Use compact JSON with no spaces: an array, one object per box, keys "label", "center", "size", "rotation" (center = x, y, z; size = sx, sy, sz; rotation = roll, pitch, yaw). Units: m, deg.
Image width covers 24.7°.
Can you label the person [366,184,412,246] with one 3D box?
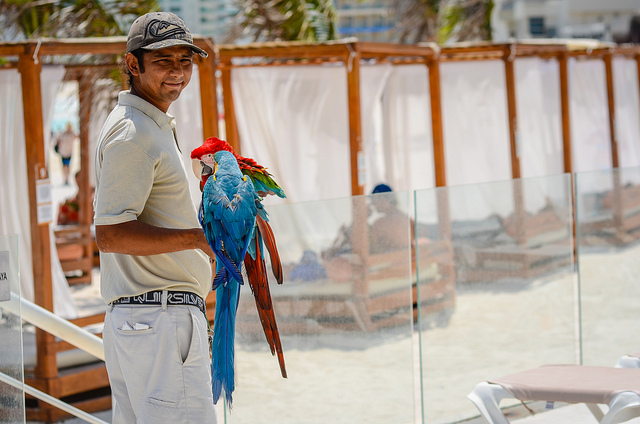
[{"label":"person","center":[0.630,0.065,14.758],"size":[0.460,0.766,0.211],"rotation":[-8,1,-14]}]
